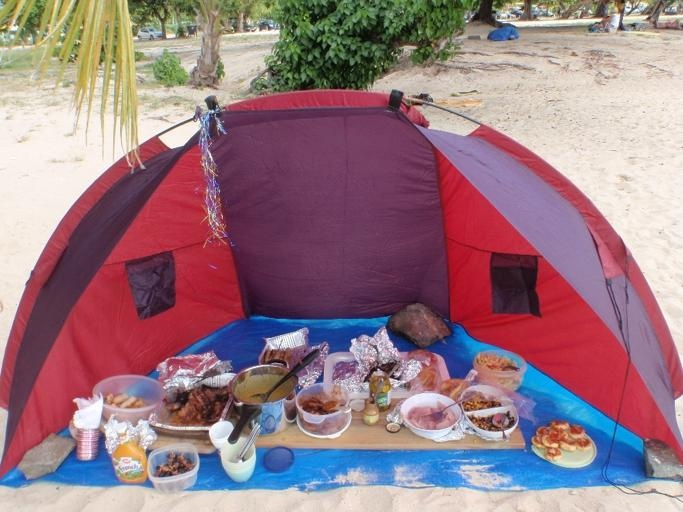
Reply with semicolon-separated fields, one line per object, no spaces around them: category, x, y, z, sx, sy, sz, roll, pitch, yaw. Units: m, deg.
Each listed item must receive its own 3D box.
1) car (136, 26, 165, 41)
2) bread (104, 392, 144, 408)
car;-10.760;-12.446;32.307;1.353;0.617;1.558;-8;24;-16
bread;-1.509;1.011;3.998;0.151;0.031;0.133;6;2;-1
